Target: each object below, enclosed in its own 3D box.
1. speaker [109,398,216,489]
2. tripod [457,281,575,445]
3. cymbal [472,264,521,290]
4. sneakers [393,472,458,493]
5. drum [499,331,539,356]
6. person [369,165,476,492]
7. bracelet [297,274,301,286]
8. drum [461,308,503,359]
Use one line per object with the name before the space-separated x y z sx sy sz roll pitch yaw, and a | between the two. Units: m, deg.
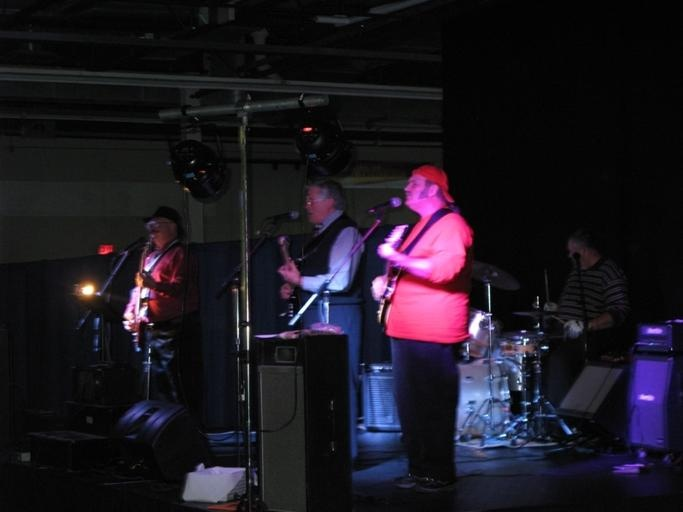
speaker | -1.674 1.622 7.693 0.691 0.612 0.895 9 -2 -43
tripod | 1.625 1.224 9.350 1.363 1.211 1.449 -1 -3 42
cymbal | 1.527 0.176 8.593 0.333 0.071 0.324 23 -10 19
sneakers | 0.684 1.816 7.104 0.522 0.177 0.169 -2 -4 15
drum | 1.798 0.876 8.846 0.282 0.130 0.281 0 -1 0
person | 0.675 0.570 7.057 0.743 2.599 0.567 0 5 7
bracelet | -0.349 0.202 7.343 0.037 0.104 0.073 -1 4 -6
drum | 1.377 0.778 8.601 0.413 0.400 0.432 14 -30 23
